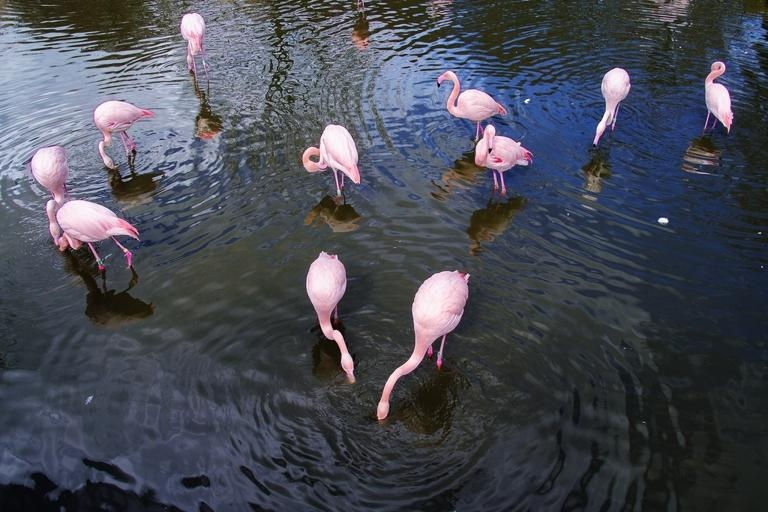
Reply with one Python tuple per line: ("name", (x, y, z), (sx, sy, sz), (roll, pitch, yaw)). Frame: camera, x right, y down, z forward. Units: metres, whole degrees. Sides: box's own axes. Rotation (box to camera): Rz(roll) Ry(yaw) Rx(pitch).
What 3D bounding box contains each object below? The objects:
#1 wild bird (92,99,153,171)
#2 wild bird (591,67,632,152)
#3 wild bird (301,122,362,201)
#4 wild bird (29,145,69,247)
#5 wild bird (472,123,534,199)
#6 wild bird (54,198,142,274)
("wild bird", (-6.169, -2.786, 16.039), (1.355, 1.415, 0.867), (-26, 44, 3))
("wild bird", (5.497, -3.467, 16.466), (0.728, 2.329, 1.363), (14, 23, 17))
("wild bird", (-1.028, -2.067, 14.667), (1.650, 1.322, 0.712), (27, 45, 37))
("wild bird", (-6.905, -1.171, 14.069), (0.604, 1.118, 2.096), (-7, 69, -4))
("wild bird", (2.615, -2.204, 14.727), (0.736, 1.393, 1.266), (21, 41, 31))
("wild bird", (-5.681, -0.346, 13.555), (1.781, 1.295, 0.871), (-3, 16, 19))
